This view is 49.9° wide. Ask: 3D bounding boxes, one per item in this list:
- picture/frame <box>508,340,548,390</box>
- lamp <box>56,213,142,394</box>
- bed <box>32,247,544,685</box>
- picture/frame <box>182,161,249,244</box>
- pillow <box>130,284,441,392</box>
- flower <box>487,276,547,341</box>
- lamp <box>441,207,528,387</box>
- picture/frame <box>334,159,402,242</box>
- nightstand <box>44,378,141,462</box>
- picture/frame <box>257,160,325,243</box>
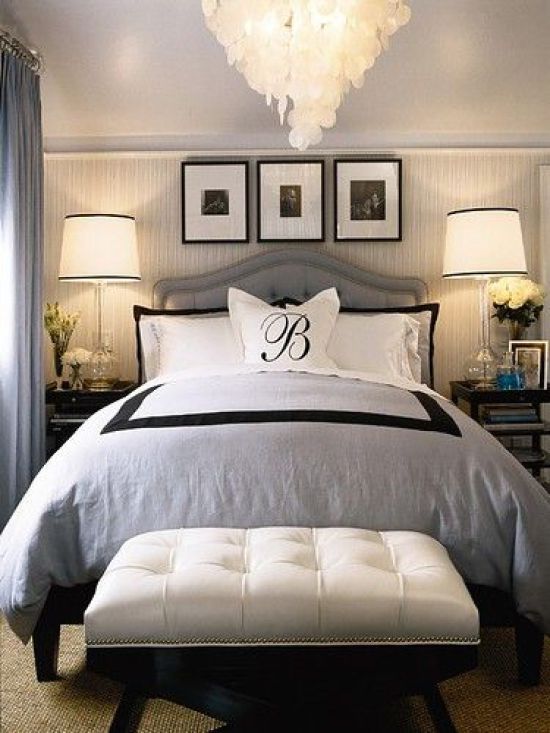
[{"bbox_3d":[1.342,-0.010,3.162,0.192,0.342,0.011,-1,-1,28],"label":"picture/frame"},{"bbox_3d":[-0.996,-0.381,3.342,0.453,0.934,0.403,5,11,35],"label":"lamp"},{"bbox_3d":[0.108,-0.019,2.601,1.296,1.299,1.871,-1,6,0],"label":"bed"},{"bbox_3d":[-0.363,-1.017,3.547,0.367,0.564,0.025,0,4,3],"label":"picture/frame"},{"bbox_3d":[0.096,-0.191,3.421,1.764,0.651,0.447,-2,9,2],"label":"pillow"},{"bbox_3d":[1.334,-0.342,3.328,0.319,0.396,0.317,-5,7,-39],"label":"flower"},{"bbox_3d":[1.126,-0.411,3.346,0.405,0.943,0.512,-4,9,-15],"label":"lamp"},{"bbox_3d":[0.564,-1.028,3.544,0.368,0.576,0.021,0,1,-3],"label":"picture/frame"},{"bbox_3d":[-1.038,0.233,3.312,0.388,0.502,0.443,0,1,-1],"label":"nightstand"},{"bbox_3d":[0.096,-1.021,3.545,0.369,0.557,0.023,0,5,3],"label":"picture/frame"}]
